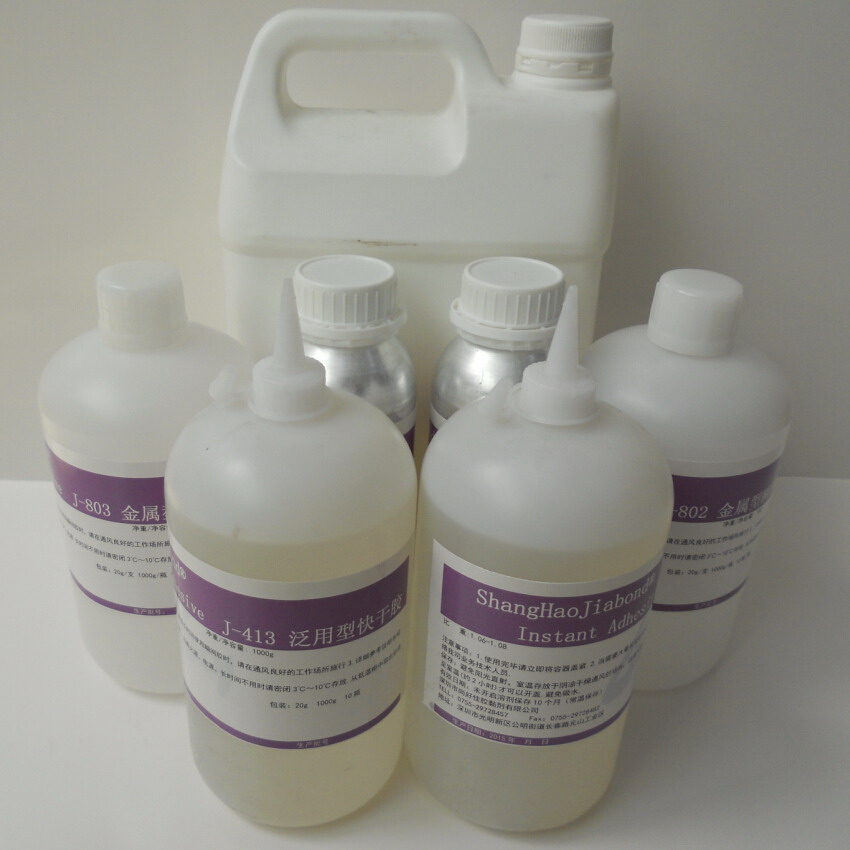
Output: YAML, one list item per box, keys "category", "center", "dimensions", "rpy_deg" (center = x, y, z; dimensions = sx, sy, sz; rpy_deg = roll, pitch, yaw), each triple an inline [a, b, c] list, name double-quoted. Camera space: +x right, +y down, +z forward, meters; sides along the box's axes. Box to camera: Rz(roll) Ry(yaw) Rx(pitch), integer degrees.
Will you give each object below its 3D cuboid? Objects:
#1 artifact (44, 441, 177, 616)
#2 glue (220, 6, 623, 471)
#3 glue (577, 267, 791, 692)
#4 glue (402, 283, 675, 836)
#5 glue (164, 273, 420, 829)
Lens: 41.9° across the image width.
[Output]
- category: "artifact"
  center: [-0.216, 0.086, 0.745]
  dimensions: [0.102, 0.130, 0.109]
  rpy_deg: [3, -8, -13]
- category: "glue"
  center: [-0.003, -0.122, 0.731]
  dimensions: [0.267, 0.336, 0.126]
  rpy_deg: [3, 38, 3]
- category: "glue"
  center: [0.167, 0.035, 0.763]
  dimensions: [0.129, 0.269, 0.135]
  rpy_deg: [1, 25, -4]
- category: "glue"
  center: [0.061, 0.086, 0.635]
  dimensions: [0.145, 0.330, 0.081]
  rpy_deg: [8, 24, 13]
- category: "glue"
  center: [-0.076, 0.083, 0.636]
  dimensions: [0.132, 0.352, 0.142]
  rpy_deg: [10, 33, 11]
